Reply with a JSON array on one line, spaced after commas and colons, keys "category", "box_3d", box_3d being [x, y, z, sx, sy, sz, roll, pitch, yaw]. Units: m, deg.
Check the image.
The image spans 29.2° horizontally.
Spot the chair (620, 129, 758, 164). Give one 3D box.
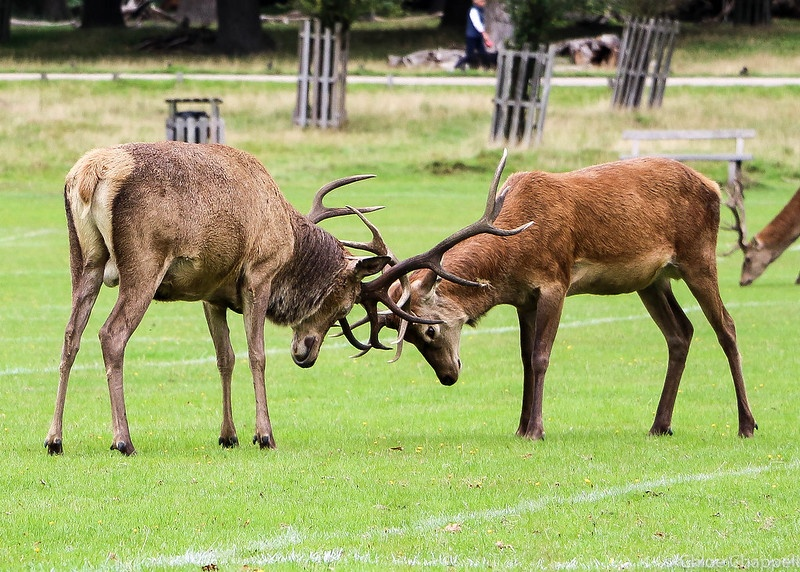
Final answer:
[{"category": "chair", "box_3d": [8.403, -4.155, 45.096, 3.195, 1.182, 1.144, 0, 1, -4]}]
